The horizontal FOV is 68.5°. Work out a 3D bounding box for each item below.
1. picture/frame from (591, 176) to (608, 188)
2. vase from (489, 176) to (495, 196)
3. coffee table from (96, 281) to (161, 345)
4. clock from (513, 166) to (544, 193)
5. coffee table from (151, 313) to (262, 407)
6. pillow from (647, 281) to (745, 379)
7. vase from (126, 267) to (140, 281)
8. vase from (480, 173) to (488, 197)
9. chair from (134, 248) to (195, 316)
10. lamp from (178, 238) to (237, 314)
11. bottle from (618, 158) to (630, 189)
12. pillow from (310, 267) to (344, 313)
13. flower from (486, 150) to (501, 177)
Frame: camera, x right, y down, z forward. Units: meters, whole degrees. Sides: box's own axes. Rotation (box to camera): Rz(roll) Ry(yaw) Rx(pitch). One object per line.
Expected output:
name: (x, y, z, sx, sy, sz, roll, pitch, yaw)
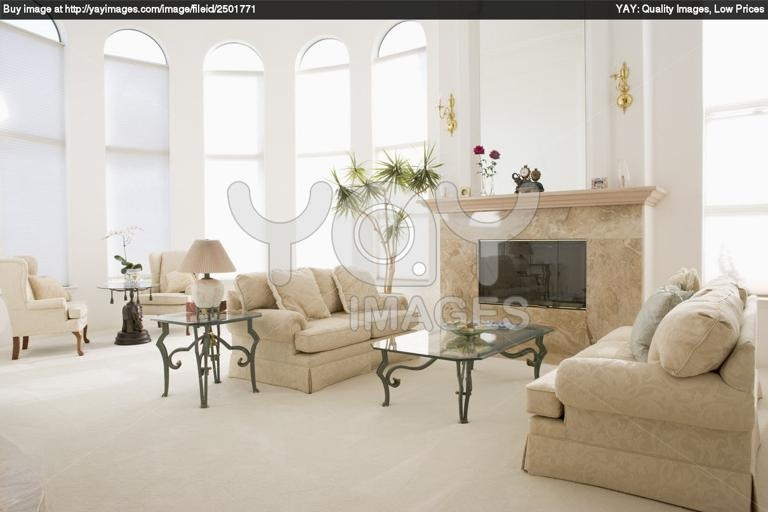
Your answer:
picture/frame: (2.387, -0.808, 6.235, 0.153, 0.140, 0.035, 1, 1, -7)
vase: (1.350, -0.889, 7.077, 0.080, 0.212, 0.312, 2, 13, 10)
coffee table: (-3.389, 0.772, 7.589, 0.711, 0.756, 0.697, 0, 1, -3)
clock: (1.731, -0.908, 6.688, 0.439, 0.387, 0.242, 0, 4, 33)
coffee table: (-1.717, 0.968, 5.563, 0.854, 0.733, 0.973, -7, -10, 12)
pillow: (2.202, 0.549, 3.928, 0.705, 0.475, 0.466, -9, 16, -34)
vase: (-3.372, 0.248, 7.615, 0.162, 0.168, 0.158, 2, -6, -12)
vase: (1.272, -0.910, 7.121, 0.079, 0.236, 0.158, 2, 14, 11)
chair: (-3.089, 0.391, 8.159, 0.751, 0.978, 0.848, 3, 1, -8)
lamp: (-1.786, 0.175, 5.676, 0.672, 0.910, 0.669, -2, 4, -23)
bottle: (2.646, -0.912, 6.202, 0.111, 0.273, 0.139, 4, 15, 18)
pillow: (-0.631, 0.368, 6.416, 0.165, 0.437, 0.451, -28, -14, 10)
flower: (1.380, -1.159, 7.038, 0.144, 0.318, 0.454, 2, 13, 11)
